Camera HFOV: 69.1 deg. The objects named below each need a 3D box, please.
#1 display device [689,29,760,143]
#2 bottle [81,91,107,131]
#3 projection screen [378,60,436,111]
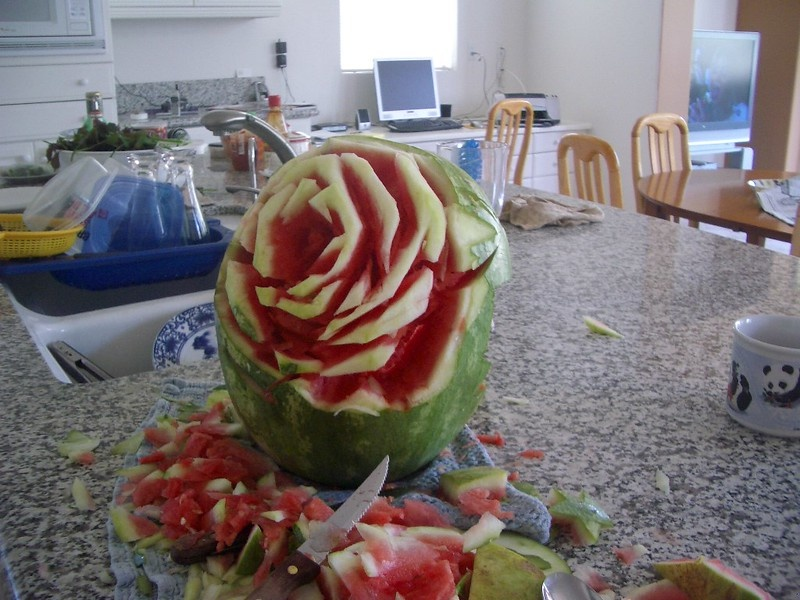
[{"bbox_3d":[2.404,-1.590,4.371,0.674,0.812,0.190,-12,21,-26],"label":"display device"},{"bbox_3d":[-1.000,-0.611,1.888,0.049,0.113,0.048,8,20,-3],"label":"bottle"},{"bbox_3d":[0.041,-1.633,4.413,0.505,0.360,0.113,-16,23,-35],"label":"projection screen"}]
